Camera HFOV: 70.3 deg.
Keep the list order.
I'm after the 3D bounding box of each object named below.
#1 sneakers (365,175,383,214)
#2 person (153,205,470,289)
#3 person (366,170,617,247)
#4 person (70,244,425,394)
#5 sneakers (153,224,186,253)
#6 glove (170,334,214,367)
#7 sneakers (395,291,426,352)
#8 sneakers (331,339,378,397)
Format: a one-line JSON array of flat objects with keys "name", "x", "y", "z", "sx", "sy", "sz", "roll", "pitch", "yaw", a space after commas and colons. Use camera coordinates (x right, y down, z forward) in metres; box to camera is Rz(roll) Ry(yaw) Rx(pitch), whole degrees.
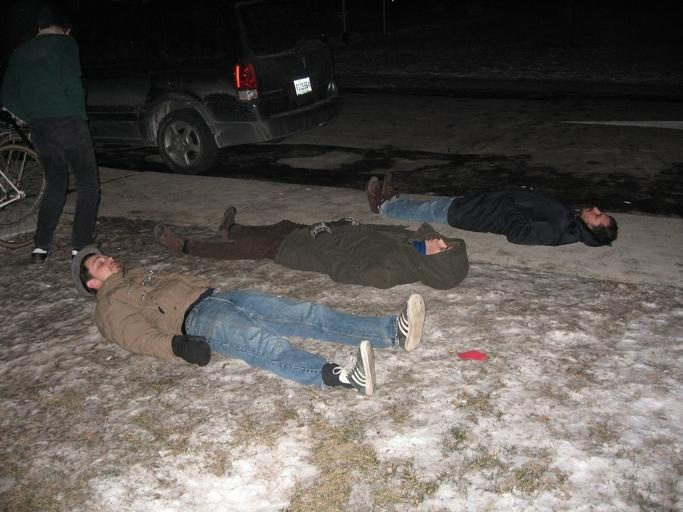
[{"name": "sneakers", "x": 0.484, "y": -0.842, "z": 6.625, "sx": 0.279, "sy": 0.559, "sz": 0.277, "roll": -4, "pitch": 18, "yaw": -21}, {"name": "person", "x": -0.453, "y": -0.066, "z": 5.157, "sx": 3.479, "sy": 0.530, "sz": 1.014, "roll": 4, "pitch": 3, "yaw": 20}, {"name": "person", "x": 1.972, "y": -0.517, "z": 6.008, "sx": 3.519, "sy": 0.629, "sz": 1.090, "roll": 5, "pitch": -1, "yaw": 18}, {"name": "person", "x": -0.837, "y": 0.498, "z": 3.686, "sx": 2.607, "sy": 0.506, "sz": 0.940, "roll": 8, "pitch": 17, "yaw": 11}, {"name": "sneakers", "x": -2.028, "y": -0.198, "z": 5.679, "sx": 0.223, "sy": 0.176, "sz": 0.614, "roll": -51, "pitch": 43, "yaw": -7}, {"name": "glove", "x": -1.075, "y": 0.664, "z": 3.467, "sx": 0.346, "sy": 0.146, "sz": 0.122, "roll": 14, "pitch": 28, "yaw": 22}, {"name": "sneakers", "x": 0.506, "y": 0.475, "z": 3.617, "sx": 0.206, "sy": 0.421, "sz": 0.239, "roll": 0, "pitch": 13, "yaw": -36}, {"name": "sneakers", "x": 0.095, "y": 0.747, "z": 3.229, "sx": 0.250, "sy": 0.463, "sz": 0.153, "roll": 6, "pitch": 52, "yaw": 7}]
